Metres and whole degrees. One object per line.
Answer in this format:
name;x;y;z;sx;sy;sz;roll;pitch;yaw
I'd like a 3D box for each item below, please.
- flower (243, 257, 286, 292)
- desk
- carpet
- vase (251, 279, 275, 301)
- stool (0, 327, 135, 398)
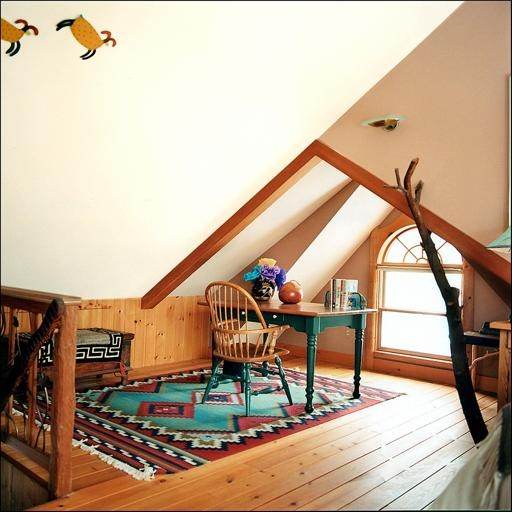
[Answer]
flower;0.096;0.152;3.893;0.322;0.204;0.315;13;11;-9
desk;0.258;0.565;3.493;0.931;0.919;1.404;2;-1;-41
carpet;-0.276;1.165;3.449;2.624;0.032;1.891;6;-5;-44
vase;0.051;0.327;3.950;0.201;0.220;0.211;2;-4;-6
stool;-1.257;0.724;2.775;0.894;0.410;0.520;1;4;-45
